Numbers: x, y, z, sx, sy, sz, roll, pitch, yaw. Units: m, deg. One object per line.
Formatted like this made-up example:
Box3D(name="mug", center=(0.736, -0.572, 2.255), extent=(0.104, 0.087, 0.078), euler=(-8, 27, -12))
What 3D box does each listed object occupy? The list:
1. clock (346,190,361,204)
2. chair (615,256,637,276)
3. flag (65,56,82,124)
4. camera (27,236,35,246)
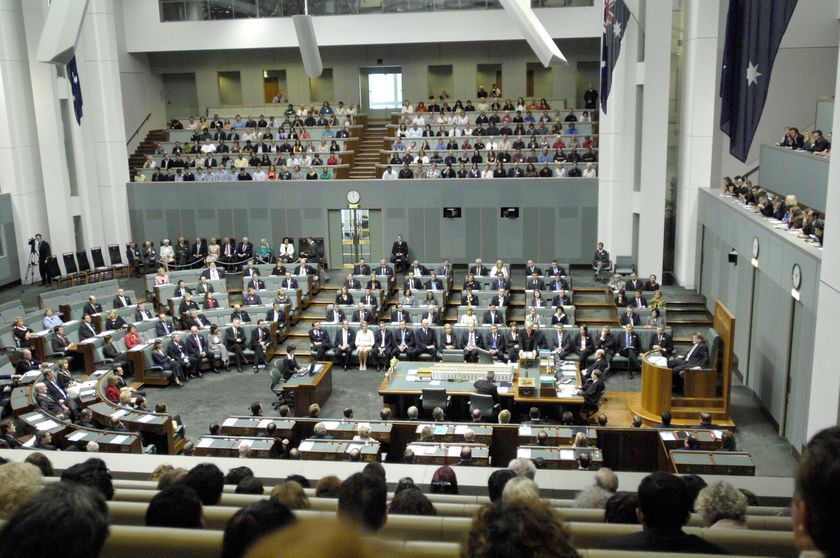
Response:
Box3D(name="clock", center=(-2.610, -3.214, 27.670), extent=(0.517, 0.487, 0.173), euler=(-3, 9, -7))
Box3D(name="chair", center=(6.997, -0.454, 23.865), extent=(0.732, 1.045, 0.803), euler=(0, 2, 8))
Box3D(name="flag", center=(-13.000, -7.156, 26.448), extent=(0.378, 2.521, 1.394), euler=(-6, 9, -21))
Box3D(name="camera", center=(-13.801, -1.340, 24.975), extent=(0.309, 0.360, 0.317), euler=(0, -2, -18))
